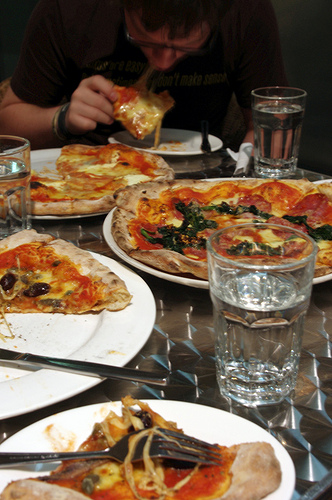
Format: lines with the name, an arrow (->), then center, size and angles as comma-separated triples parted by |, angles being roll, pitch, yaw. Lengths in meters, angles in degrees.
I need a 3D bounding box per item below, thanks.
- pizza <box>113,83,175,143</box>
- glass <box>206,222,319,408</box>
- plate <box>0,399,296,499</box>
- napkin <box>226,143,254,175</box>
pizza -> -0.079, -0.585, 1.783 | 0.237, 0.072, 0.244 | 27, 54, 17
glass -> 0.109, 0.080, 0.531 | 0.111, 0.215, 0.107 | -7, 22, -26
plate -> -0.023, 0.188, 0.416 | 0.260, 0.028, 0.163 | 0, 17, -8
napkin -> 0.260, -0.333, 1.520 | 0.083, 0.045, 0.197 | 18, 31, -4
